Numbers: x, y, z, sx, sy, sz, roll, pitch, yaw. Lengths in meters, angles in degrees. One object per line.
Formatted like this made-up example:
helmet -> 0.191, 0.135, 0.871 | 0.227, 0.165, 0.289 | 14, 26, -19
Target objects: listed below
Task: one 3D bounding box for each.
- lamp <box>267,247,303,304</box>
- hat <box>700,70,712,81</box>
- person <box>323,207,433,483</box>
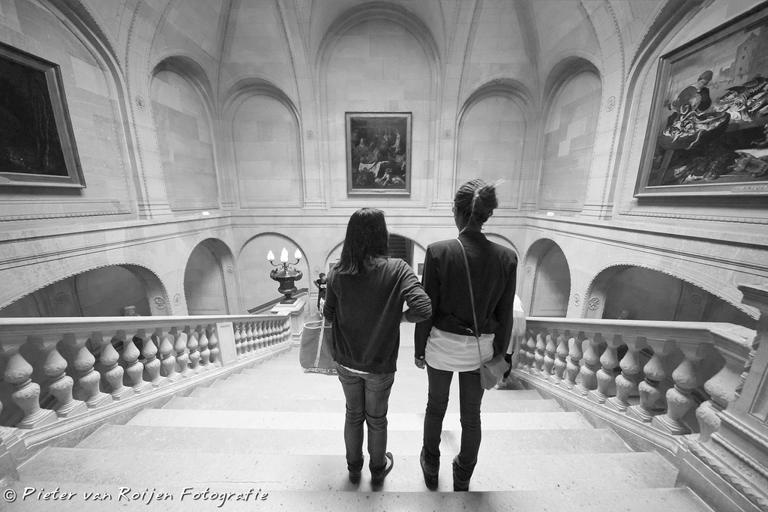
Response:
lamp -> -2.084, 0.475, 8.136 | 0.691, 1.033, 0.652 | -3, 6, 10
hat -> 5.113, -2.869, 6.061 | 0.144, 0.127, 0.131 | 9, 30, -3
person -> -0.127, 1.012, 4.093 | 0.978, 3.010, 0.467 | -2, 10, -13
